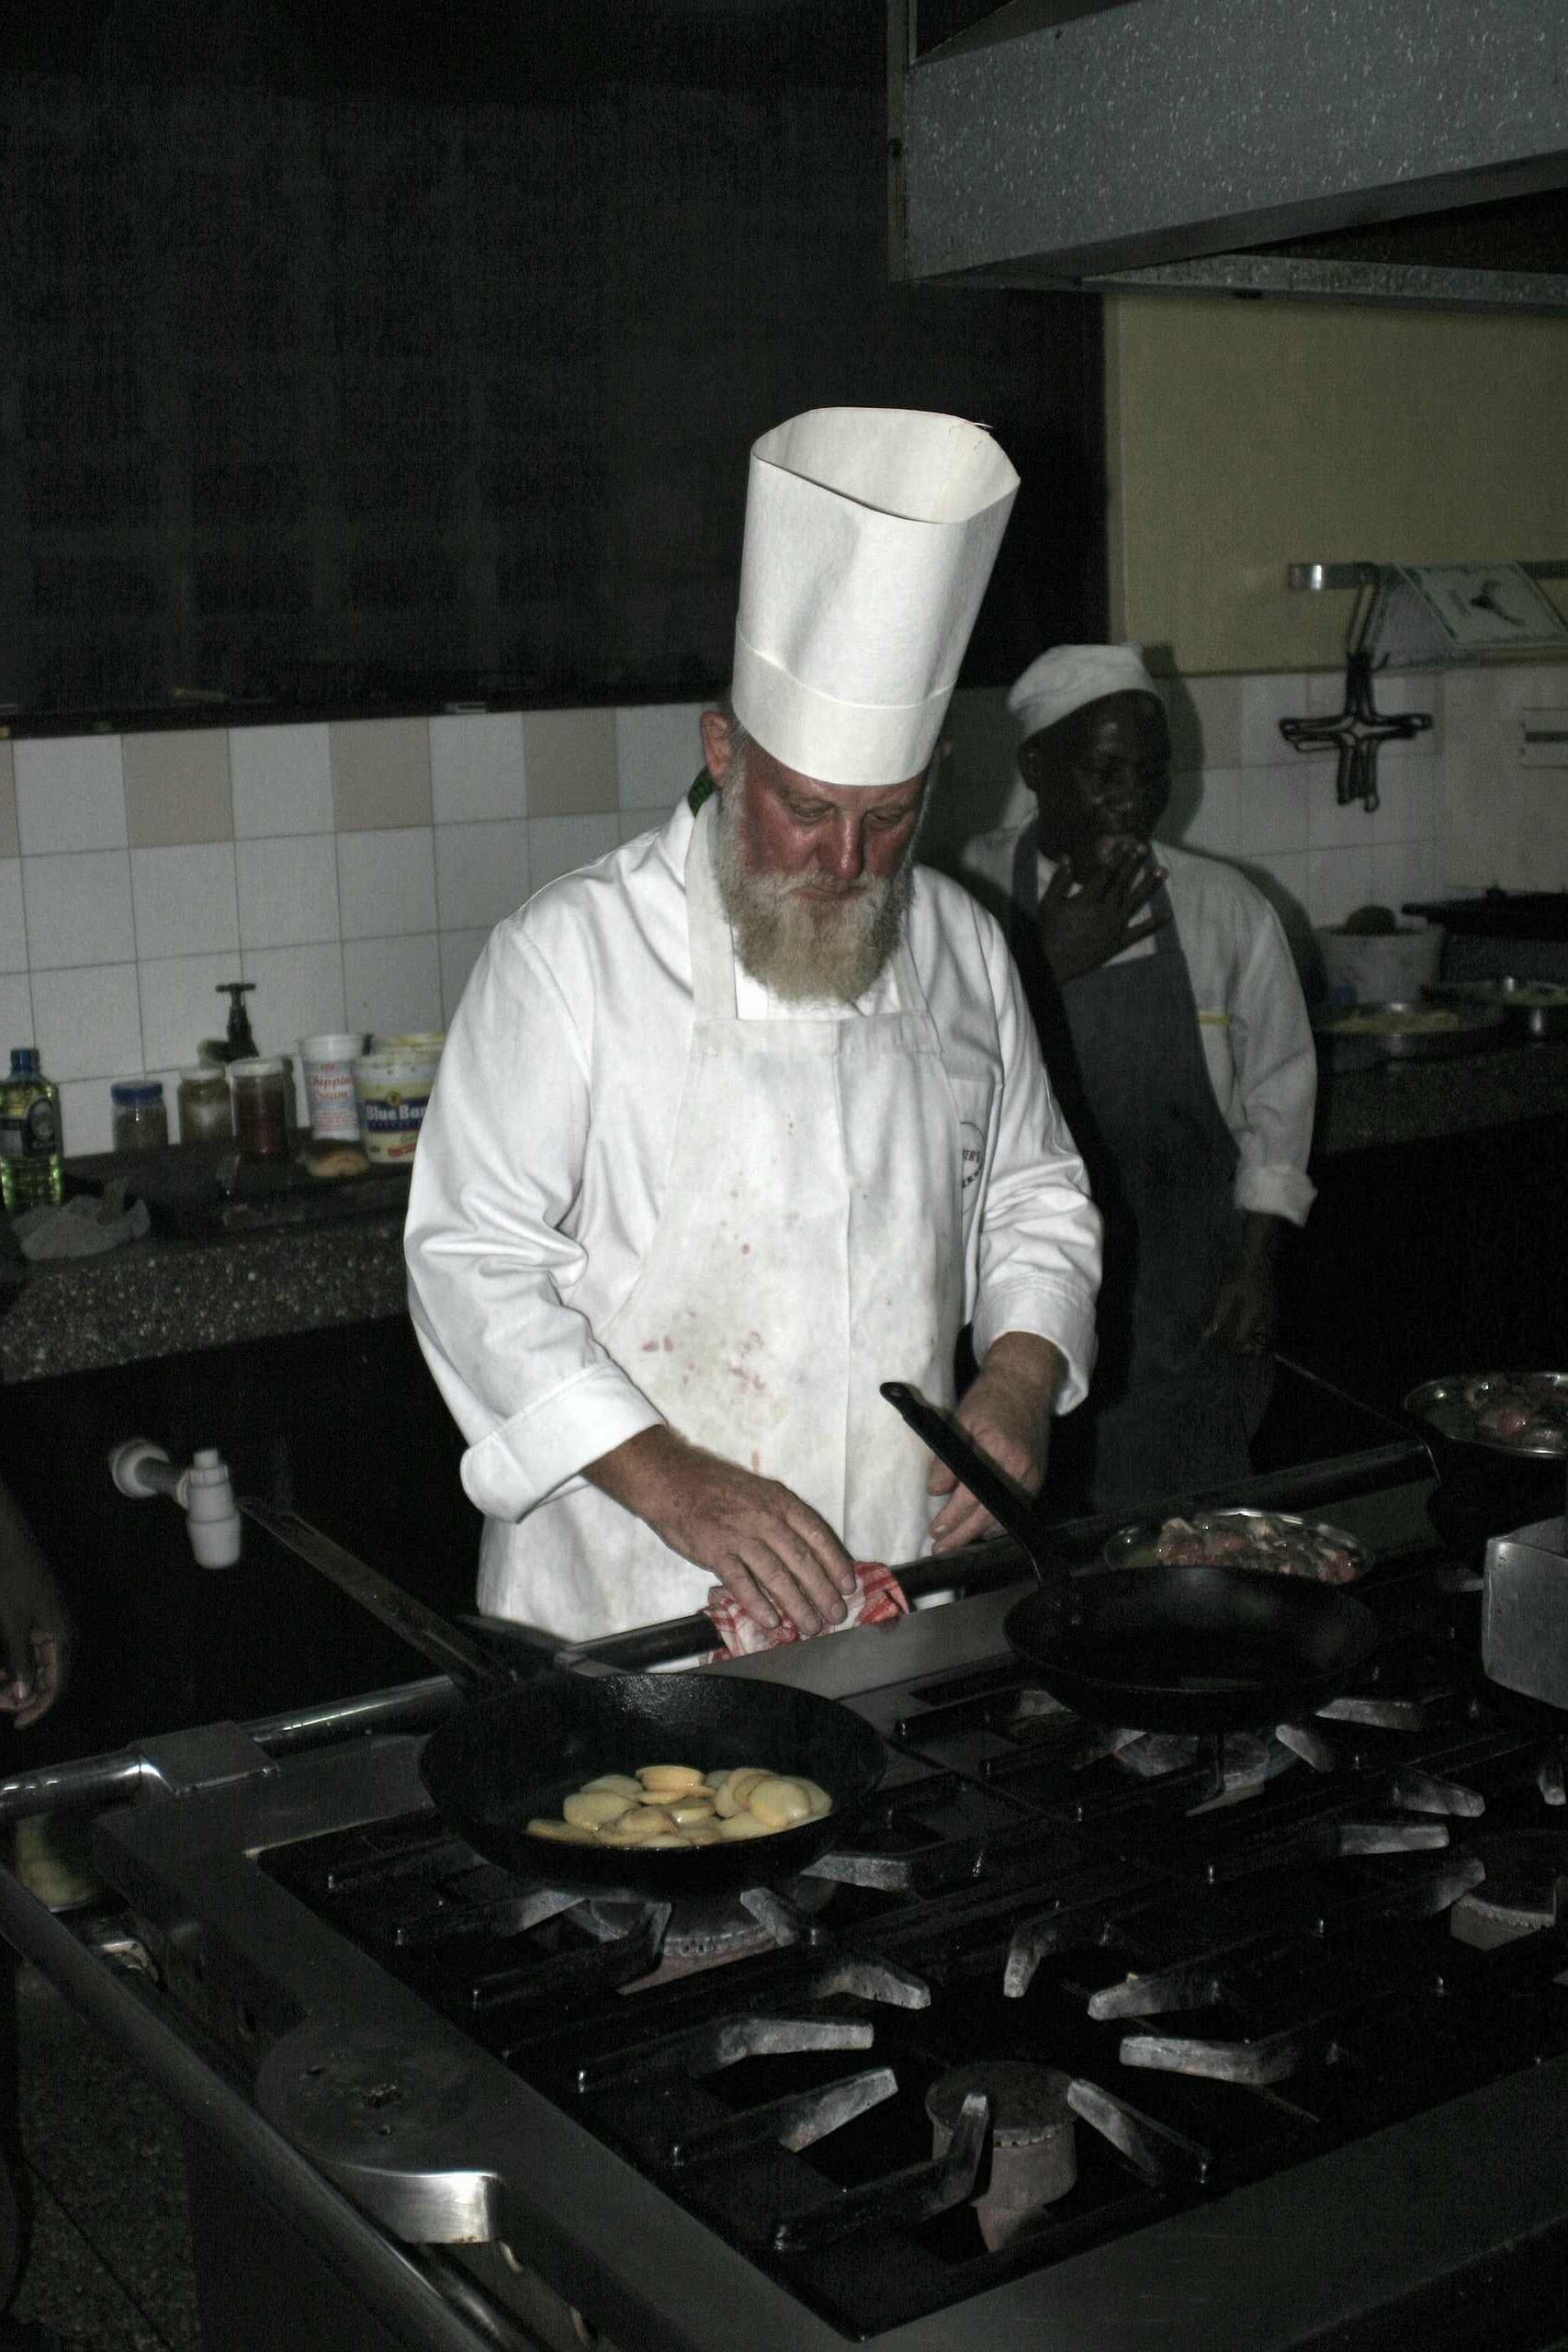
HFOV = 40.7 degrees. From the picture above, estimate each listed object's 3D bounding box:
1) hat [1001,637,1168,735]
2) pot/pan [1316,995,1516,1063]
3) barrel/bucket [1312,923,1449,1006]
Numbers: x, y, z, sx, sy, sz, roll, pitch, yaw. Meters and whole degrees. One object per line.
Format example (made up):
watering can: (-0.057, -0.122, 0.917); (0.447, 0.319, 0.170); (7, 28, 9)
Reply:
hat: (0.389, -0.660, 2.874); (0.135, 0.073, 0.151); (-19, 11, -11)
pot/pan: (1.104, -0.251, 3.670); (0.287, 0.038, 0.161); (-9, 13, -32)
barrel/bucket: (1.121, -0.397, 4.030); (0.187, 0.110, 0.182); (-1, 8, 0)
